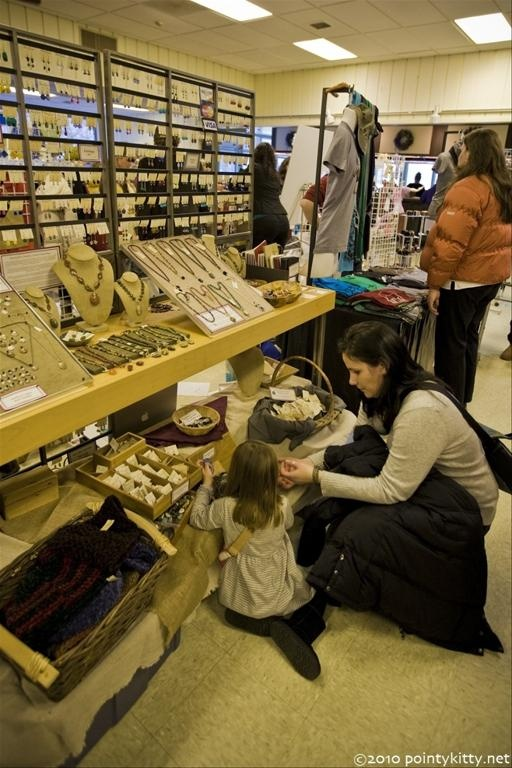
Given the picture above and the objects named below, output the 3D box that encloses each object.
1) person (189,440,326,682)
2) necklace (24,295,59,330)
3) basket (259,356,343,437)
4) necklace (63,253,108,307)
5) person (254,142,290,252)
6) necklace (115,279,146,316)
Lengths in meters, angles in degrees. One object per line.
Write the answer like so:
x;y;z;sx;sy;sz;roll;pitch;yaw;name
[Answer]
-0.017;0.502;1.770;0.425;0.562;0.753;-1;29;-14;person
-0.693;-0.229;1.607;0.051;0.092;0.096;-15;53;9;necklace
0.182;0.106;2.514;0.336;0.336;0.466;14;21;27;basket
-0.615;-0.382;1.811;0.084;0.163;0.125;32;45;23;necklace
0.132;-1.965;5.238;0.562;1.003;0.279;-8;18;-36;person
-0.498;-0.352;2.003;0.077;0.143;0.117;18;33;29;necklace
